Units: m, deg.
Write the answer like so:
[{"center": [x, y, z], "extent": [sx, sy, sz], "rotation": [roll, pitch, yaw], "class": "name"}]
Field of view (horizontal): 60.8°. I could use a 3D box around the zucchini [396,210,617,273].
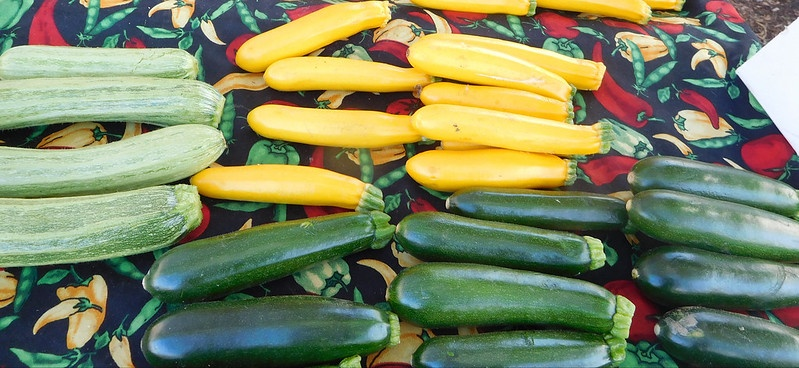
[{"center": [0.595, 0.385, 3.892], "extent": [1.408, 0.289, 0.324], "rotation": [8, -4, -24], "class": "zucchini"}]
